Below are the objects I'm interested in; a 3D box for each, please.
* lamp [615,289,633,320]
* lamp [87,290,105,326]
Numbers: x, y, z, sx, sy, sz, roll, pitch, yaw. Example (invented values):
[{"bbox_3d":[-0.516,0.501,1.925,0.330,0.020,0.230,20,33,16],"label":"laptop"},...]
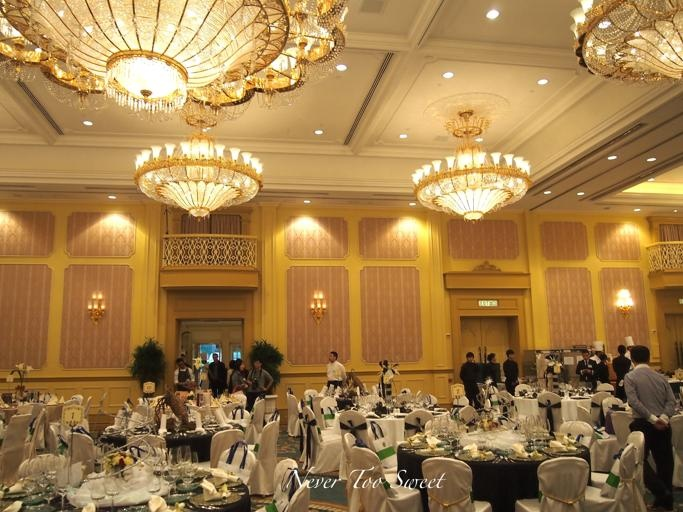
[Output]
[{"bbox_3d":[8.452,1.392,14.639,0.652,0.890,0.184,3,-13,-21],"label":"lamp"},{"bbox_3d":[-6.291,1.268,12.605,0.361,0.771,0.227,6,14,6],"label":"lamp"}]
